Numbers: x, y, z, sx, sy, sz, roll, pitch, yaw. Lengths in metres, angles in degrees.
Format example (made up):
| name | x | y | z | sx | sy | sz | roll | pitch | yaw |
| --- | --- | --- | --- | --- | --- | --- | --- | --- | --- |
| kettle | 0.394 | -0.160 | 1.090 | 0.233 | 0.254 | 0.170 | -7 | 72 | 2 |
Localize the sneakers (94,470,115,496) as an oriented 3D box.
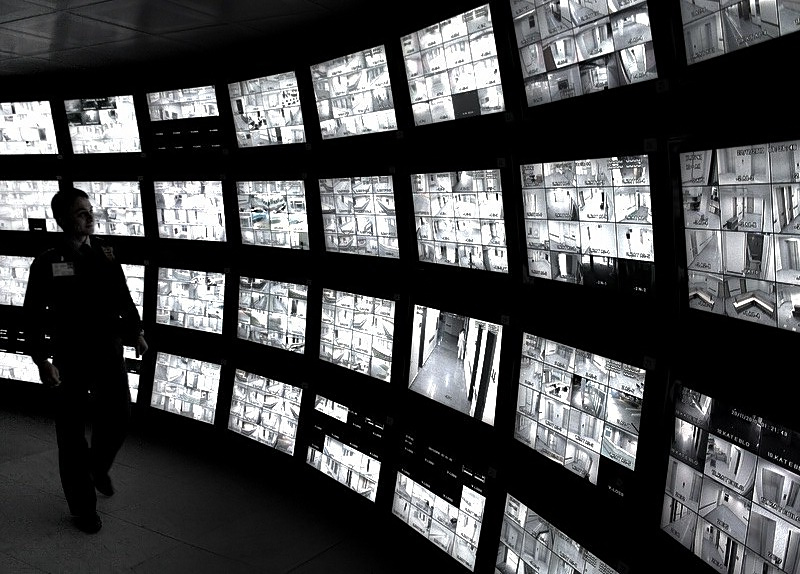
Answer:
| name | x | y | z | sx | sy | sz | roll | pitch | yaw |
| --- | --- | --- | --- | --- | --- | --- | --- | --- | --- |
| sneakers | -2.397 | 1.599 | 5.147 | 0.113 | 0.209 | 0.198 | -10 | -4 | -16 |
